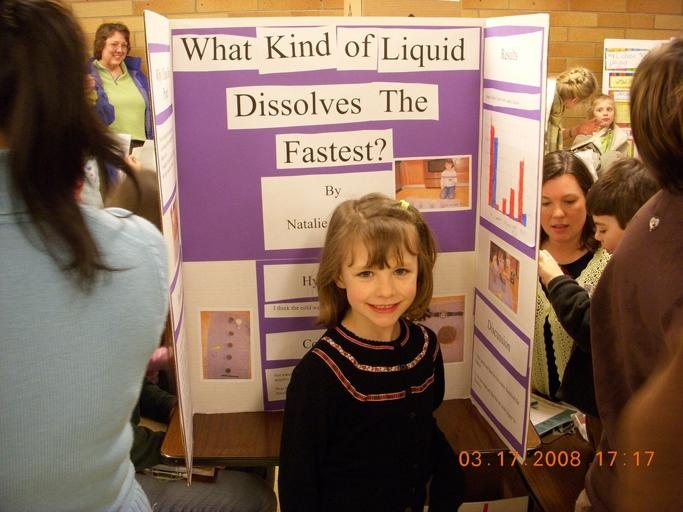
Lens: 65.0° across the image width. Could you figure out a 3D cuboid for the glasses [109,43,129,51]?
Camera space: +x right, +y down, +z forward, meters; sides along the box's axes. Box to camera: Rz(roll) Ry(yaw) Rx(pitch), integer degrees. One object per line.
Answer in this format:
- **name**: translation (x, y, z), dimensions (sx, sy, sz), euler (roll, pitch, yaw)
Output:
- **glasses**: translation (-1.841, -1.749, 4.428), dimensions (0.082, 0.026, 0.081), euler (-8, 15, -42)
